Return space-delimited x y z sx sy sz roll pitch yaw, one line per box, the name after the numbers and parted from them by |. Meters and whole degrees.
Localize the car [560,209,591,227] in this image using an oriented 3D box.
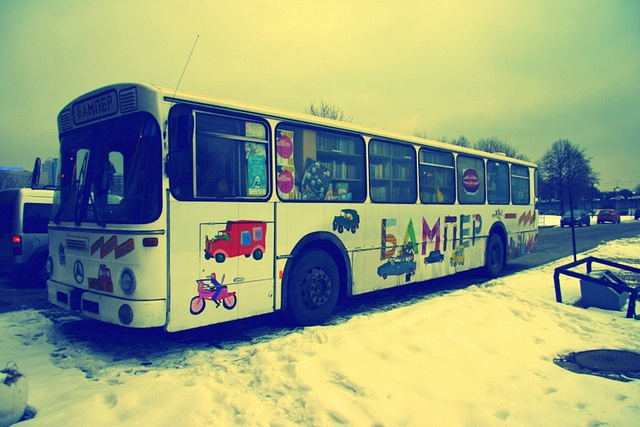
22.282 0.427 42.991 1.212 1.115 2.727 -4 -7 39 | car

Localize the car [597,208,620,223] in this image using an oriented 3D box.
30.249 0.157 51.581 1.282 1.137 2.273 1 7 42 | car
